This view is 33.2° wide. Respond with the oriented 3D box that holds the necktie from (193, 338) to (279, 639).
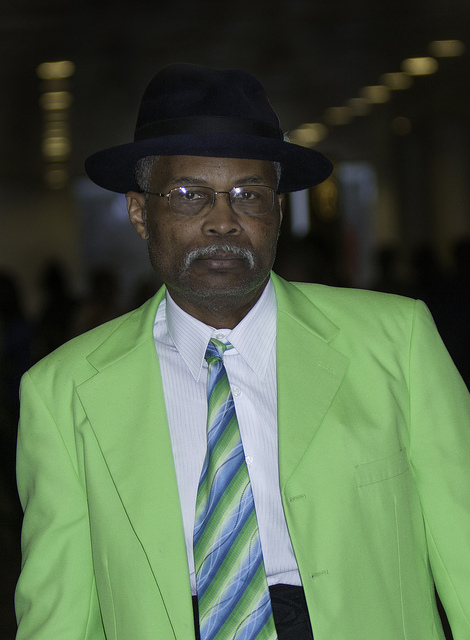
[{"bbox_3d":[-0.045,0.405,1.989,0.173,0.615,0.263,-7,-2,-4],"label":"necktie"}]
